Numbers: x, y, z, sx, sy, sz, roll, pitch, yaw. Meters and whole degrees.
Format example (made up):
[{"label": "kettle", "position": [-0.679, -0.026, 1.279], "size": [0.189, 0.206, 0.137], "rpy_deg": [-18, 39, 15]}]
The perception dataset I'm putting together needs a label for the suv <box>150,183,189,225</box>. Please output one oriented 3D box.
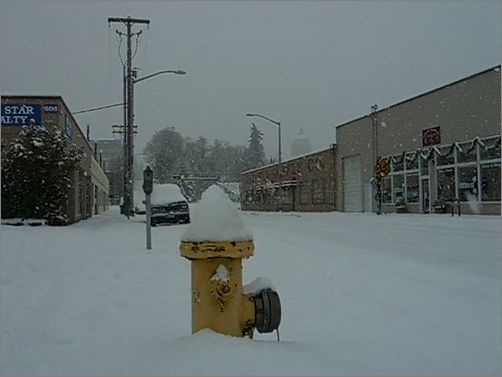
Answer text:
[{"label": "suv", "position": [-3.492, 0.706, 19.330], "size": [1.599, 1.658, 1.576], "rpy_deg": [-1, 4, -15]}]
